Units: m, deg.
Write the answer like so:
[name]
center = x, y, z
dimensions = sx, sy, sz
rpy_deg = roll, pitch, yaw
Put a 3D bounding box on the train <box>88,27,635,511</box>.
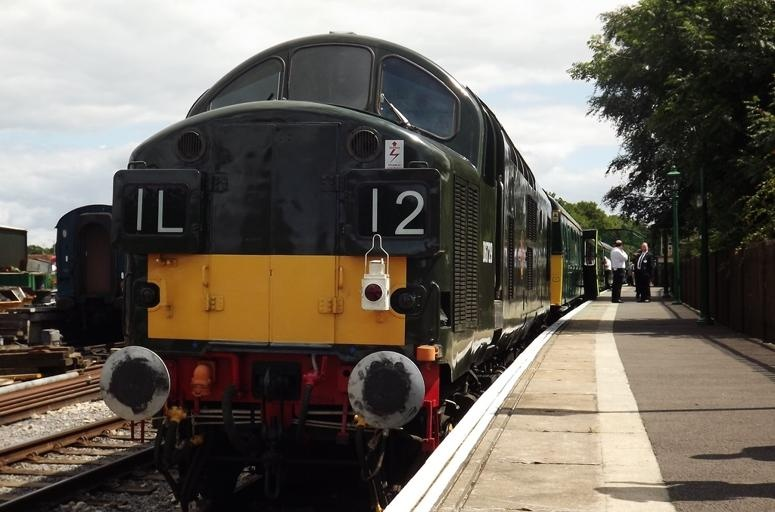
[train]
center = -0.328, 0.003, 7.157
dimensions = 4.720, 5.001, 2.383
rpy_deg = 0, -3, -36
